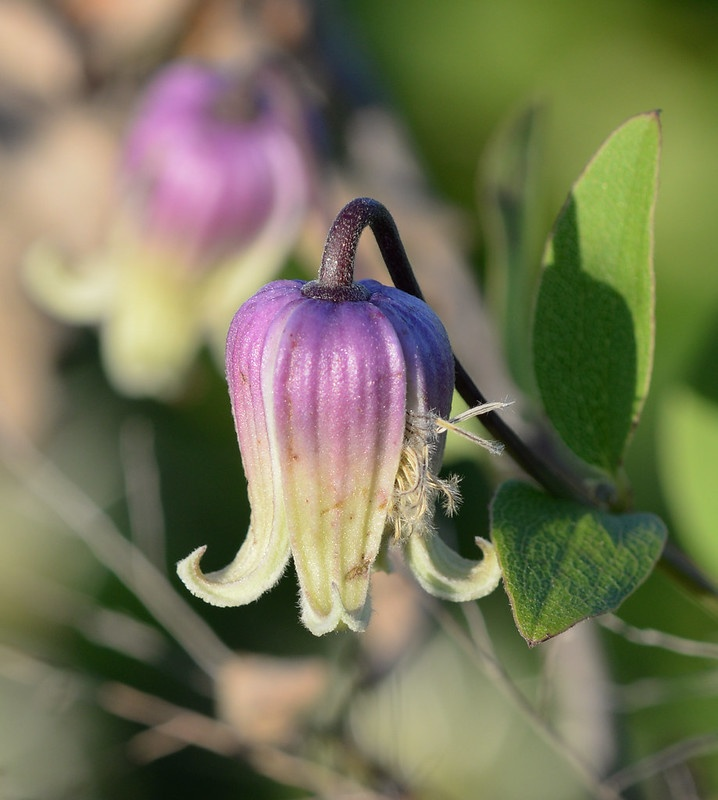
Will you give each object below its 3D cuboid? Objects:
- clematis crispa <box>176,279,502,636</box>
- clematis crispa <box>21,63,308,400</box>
[{"bbox_3d":[-0.017,0.055,1.056,0.279,0.302,0.335,-2,99,-15],"label":"clematis crispa"},{"bbox_3d":[-0.206,-0.254,1.494,0.251,0.281,0.506,21,96,-3],"label":"clematis crispa"}]
